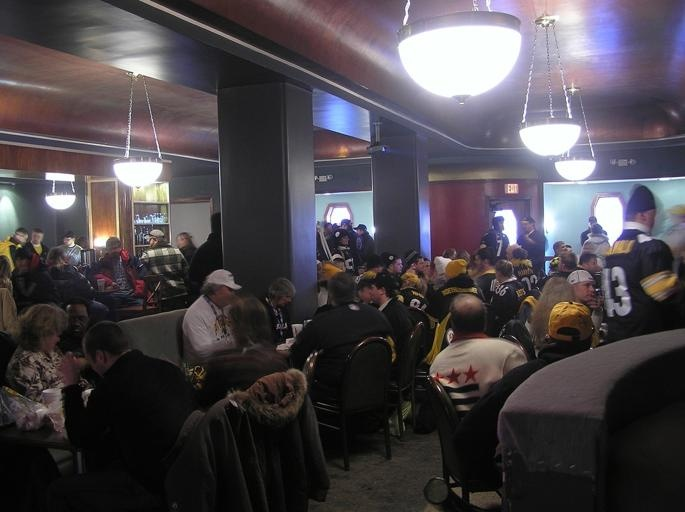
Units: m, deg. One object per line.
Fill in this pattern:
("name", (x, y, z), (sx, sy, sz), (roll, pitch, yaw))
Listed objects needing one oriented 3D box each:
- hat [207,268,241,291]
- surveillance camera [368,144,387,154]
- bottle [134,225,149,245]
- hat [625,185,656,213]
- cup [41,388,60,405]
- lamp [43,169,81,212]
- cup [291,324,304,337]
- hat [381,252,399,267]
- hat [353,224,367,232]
("hat", (-0.883, 0.180, 3.923), (0.233, 0.125, 0.161), (3, 2, -12))
("surveillance camera", (0.532, -1.687, 8.096), (0.245, 0.129, 0.329), (0, -2, 6))
("bottle", (-3.877, -0.399, 10.093), (0.092, 0.375, 0.392), (-7, -8, 34))
("hat", (1.985, -0.384, 3.581), (0.203, 0.208, 0.193), (-4, 7, -6))
("cup", (-1.435, 0.689, 2.608), (0.088, 0.092, 0.088), (4, -1, 0))
("lamp", (-5.301, -1.256, 9.958), (0.570, 0.704, 0.556), (2, 5, 17))
("cup", (-0.354, 0.594, 4.156), (0.091, 0.119, 0.101), (3, 5, 14))
("hat", (0.602, 0.043, 6.670), (0.192, 0.153, 0.143), (-42, 5, 7))
("hat", (0.366, -0.566, 10.825), (0.256, 0.133, 0.158), (15, 7, 21))
